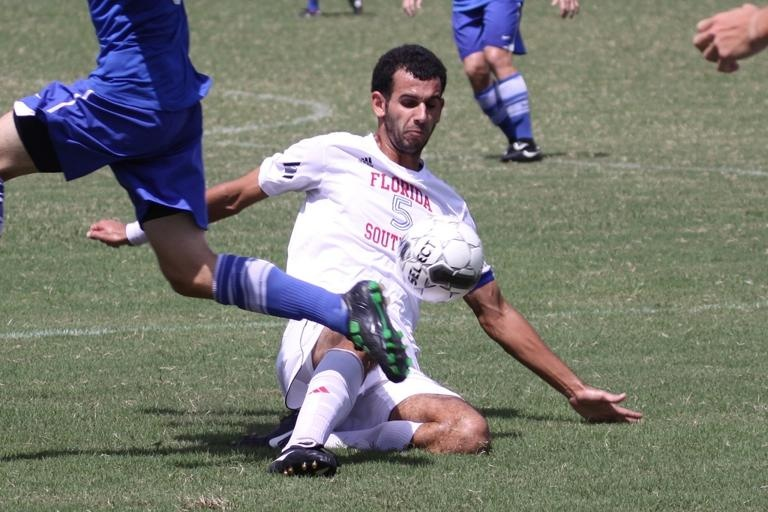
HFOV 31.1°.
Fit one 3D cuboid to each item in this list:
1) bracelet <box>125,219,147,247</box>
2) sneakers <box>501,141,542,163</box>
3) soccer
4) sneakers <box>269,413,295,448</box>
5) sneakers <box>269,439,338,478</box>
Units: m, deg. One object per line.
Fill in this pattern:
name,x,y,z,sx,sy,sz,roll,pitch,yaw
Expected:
bracelet,-1.792,-0.153,10.020,0.159,0.142,0.197,-40,6,-23
sneakers,1.516,-1.126,15.035,0.519,0.201,0.185,0,7,27
soccer,0.382,-0.019,9.684,0.634,0.546,0.596,4,20,19
sneakers,-0.670,1.166,9.440,0.102,0.236,0.151,34,-18,-12
sneakers,-0.506,1.313,8.966,0.403,0.142,0.194,-5,-2,17
